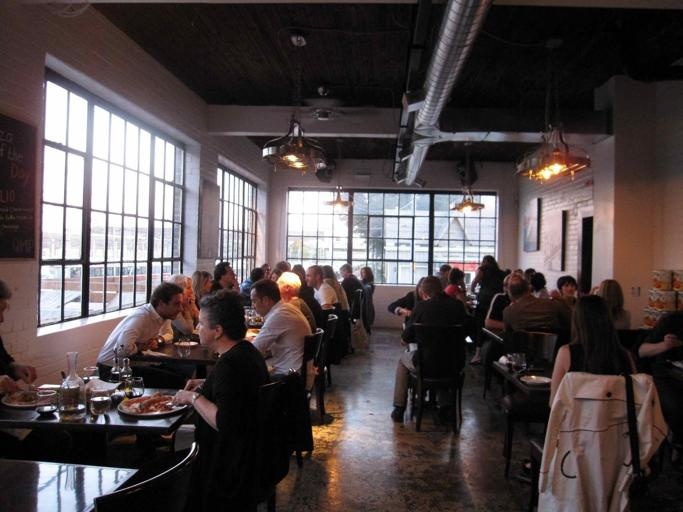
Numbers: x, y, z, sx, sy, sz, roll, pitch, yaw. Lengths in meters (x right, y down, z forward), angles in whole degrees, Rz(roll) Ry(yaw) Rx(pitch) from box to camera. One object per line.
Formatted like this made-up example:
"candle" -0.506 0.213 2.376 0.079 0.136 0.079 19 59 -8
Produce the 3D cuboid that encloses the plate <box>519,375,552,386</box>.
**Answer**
"plate" 1.508 0.967 4.194 0.138 0.023 0.136 0 2 4

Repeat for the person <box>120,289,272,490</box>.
"person" -0.676 0.795 3.252 0.456 1.139 0.447 -1 5 -9

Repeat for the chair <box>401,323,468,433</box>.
"chair" 0.950 1.168 5.482 0.582 1.066 0.616 1 5 10

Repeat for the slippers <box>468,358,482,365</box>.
"slippers" 1.988 1.557 8.002 0.215 0.090 0.072 2 0 14

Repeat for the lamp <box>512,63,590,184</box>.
"lamp" 2.529 -1.558 6.439 0.699 1.353 2.803 2 5 21

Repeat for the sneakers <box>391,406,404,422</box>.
"sneakers" 0.584 1.622 5.541 0.084 0.153 0.167 1 4 -4

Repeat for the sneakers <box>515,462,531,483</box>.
"sneakers" 1.493 1.755 4.425 0.161 0.092 0.265 -1 -2 16

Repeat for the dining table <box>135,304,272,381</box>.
"dining table" -1.412 0.876 4.989 0.899 0.843 0.898 0 -1 13

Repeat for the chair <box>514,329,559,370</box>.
"chair" 1.840 0.861 5.061 0.304 0.375 0.347 -3 -12 21

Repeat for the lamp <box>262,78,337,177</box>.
"lamp" -0.564 -1.774 7.067 1.131 1.236 1.118 -1 -15 9

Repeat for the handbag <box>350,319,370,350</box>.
"handbag" 0.286 1.274 8.856 0.202 0.504 0.512 -3 -5 16

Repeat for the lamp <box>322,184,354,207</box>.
"lamp" -0.057 -1.182 9.876 0.611 0.460 0.613 -1 -4 19

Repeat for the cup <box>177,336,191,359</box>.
"cup" -1.407 0.807 4.748 0.130 0.141 0.133 0 -7 0
